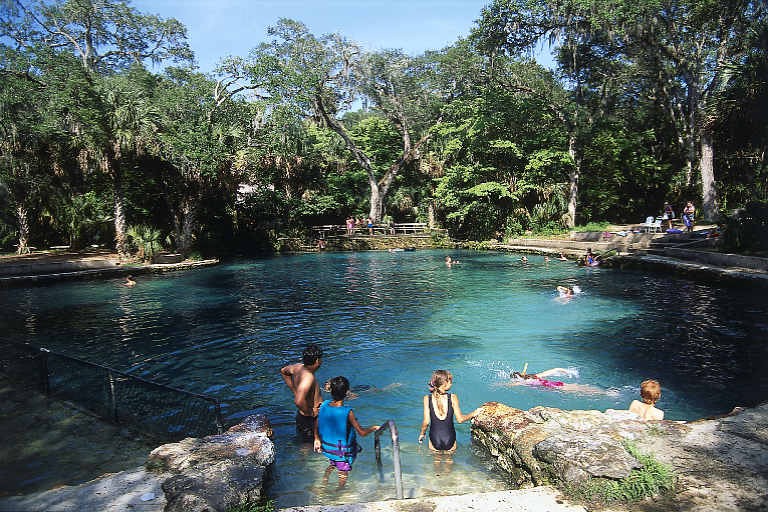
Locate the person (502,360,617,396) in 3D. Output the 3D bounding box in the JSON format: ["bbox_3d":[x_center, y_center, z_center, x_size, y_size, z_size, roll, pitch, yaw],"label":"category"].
[{"bbox_3d":[4.418,3.121,12.508,2.378,0.394,1.219,-2,3,13],"label":"person"}]

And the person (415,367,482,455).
[{"bbox_3d":[1.056,2.970,9.435,0.717,1.701,0.364,-3,5,18],"label":"person"}]

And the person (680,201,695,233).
[{"bbox_3d":[19.064,-2.542,30.907,0.536,1.777,1.292,-3,5,24],"label":"person"}]

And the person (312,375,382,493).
[{"bbox_3d":[-0.824,3.149,9.129,0.800,1.904,0.960,-9,7,-42],"label":"person"}]
